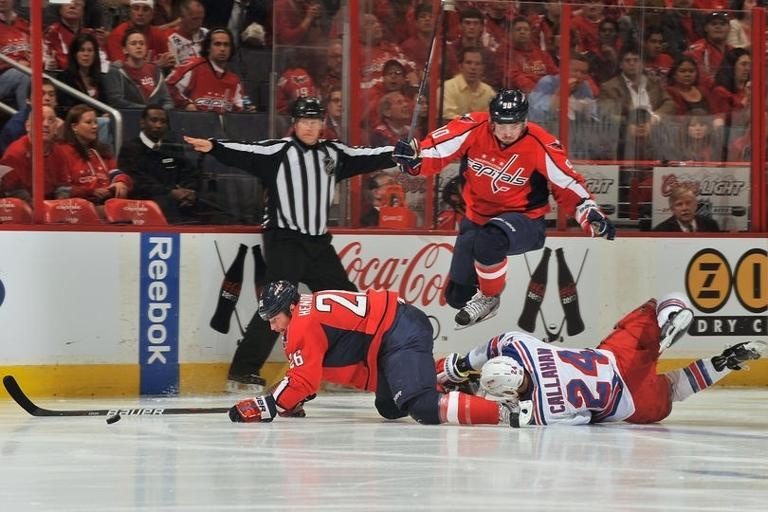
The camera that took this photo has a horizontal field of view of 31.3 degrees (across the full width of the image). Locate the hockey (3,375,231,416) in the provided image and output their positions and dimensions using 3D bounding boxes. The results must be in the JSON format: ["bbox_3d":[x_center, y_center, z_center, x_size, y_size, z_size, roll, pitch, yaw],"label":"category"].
[{"bbox_3d":[-2.061,1.073,10.465,1.587,0.213,0.516,1,-1,2],"label":"hockey"}]

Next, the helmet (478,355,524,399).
[{"bbox_3d":[0.851,0.900,10.025,0.297,0.333,0.228,1,-1,-23],"label":"helmet"}]

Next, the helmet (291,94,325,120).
[{"bbox_3d":[-0.634,-1.233,11.292,0.226,0.153,0.221,0,-13,-6],"label":"helmet"}]

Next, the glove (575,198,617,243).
[{"bbox_3d":[1.604,-0.283,10.704,0.229,0.151,0.366,-36,38,6],"label":"glove"}]

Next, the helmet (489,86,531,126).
[{"bbox_3d":[0.970,-1.176,10.740,0.262,0.238,0.305,3,14,3],"label":"helmet"}]

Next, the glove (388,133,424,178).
[{"bbox_3d":[0.179,-0.799,10.832,0.211,0.292,0.196,1,-1,14],"label":"glove"}]

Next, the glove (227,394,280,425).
[{"bbox_3d":[-0.958,1.139,10.107,0.364,0.174,0.128,-11,-13,-5],"label":"glove"}]

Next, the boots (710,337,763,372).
[{"bbox_3d":[2.690,0.769,10.511,0.408,0.187,0.108,-18,-5,1],"label":"boots"}]

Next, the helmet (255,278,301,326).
[{"bbox_3d":[-0.815,0.339,10.258,0.342,0.257,0.282,-20,13,-20],"label":"helmet"}]

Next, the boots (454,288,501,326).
[{"bbox_3d":[0.742,0.403,11.106,0.153,0.222,0.523,35,36,30],"label":"boots"}]

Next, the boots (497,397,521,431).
[{"bbox_3d":[0.910,1.143,9.995,0.155,0.167,0.081,-4,-10,27],"label":"boots"}]

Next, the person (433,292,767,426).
[{"bbox_3d":[1.649,0.832,10.221,2.341,0.607,0.874,-6,42,-19],"label":"person"}]
